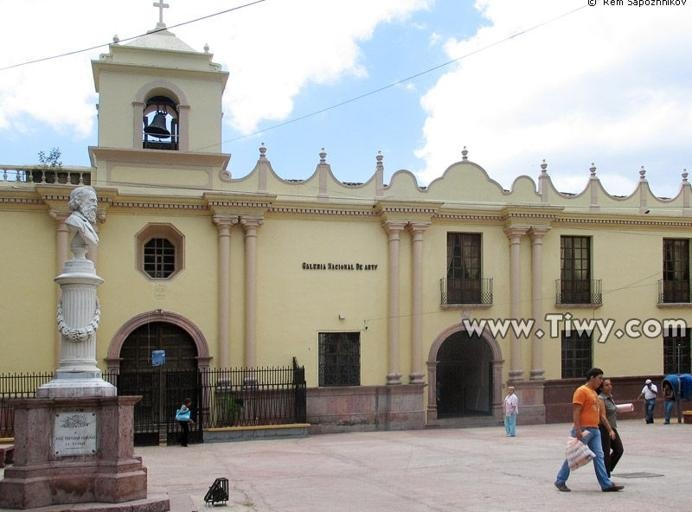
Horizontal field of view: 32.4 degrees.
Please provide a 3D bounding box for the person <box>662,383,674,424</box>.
[{"bbox_3d":[11.090,5.029,41.162,0.386,1.531,0.964,-3,-8,15],"label":"person"}]

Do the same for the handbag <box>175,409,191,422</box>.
[{"bbox_3d":[-5.092,5.000,37.268,0.386,0.381,0.393,5,-20,-16],"label":"handbag"}]

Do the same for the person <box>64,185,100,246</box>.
[{"bbox_3d":[-6.410,-1.052,28.907,0.748,1.524,0.623,4,-9,-31],"label":"person"}]

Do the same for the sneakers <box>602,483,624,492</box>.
[{"bbox_3d":[6.310,5.544,28.497,0.532,0.220,0.207,-6,-7,-3],"label":"sneakers"}]

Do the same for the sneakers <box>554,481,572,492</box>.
[{"bbox_3d":[5.158,5.556,28.622,0.160,0.158,0.382,6,-15,-18],"label":"sneakers"}]

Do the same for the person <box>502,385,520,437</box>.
[{"bbox_3d":[5.317,5.050,38.749,0.387,1.593,1.119,-2,-7,5],"label":"person"}]

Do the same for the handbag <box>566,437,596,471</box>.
[{"bbox_3d":[5.530,4.688,28.344,0.646,0.758,0.353,-2,-7,6],"label":"handbag"}]

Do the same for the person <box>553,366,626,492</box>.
[{"bbox_3d":[5.873,4.159,28.535,1.112,2.931,0.530,3,-8,-28],"label":"person"}]

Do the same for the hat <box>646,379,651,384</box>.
[{"bbox_3d":[10.606,4.422,42.073,0.149,0.195,0.177,14,-26,-6],"label":"hat"}]
